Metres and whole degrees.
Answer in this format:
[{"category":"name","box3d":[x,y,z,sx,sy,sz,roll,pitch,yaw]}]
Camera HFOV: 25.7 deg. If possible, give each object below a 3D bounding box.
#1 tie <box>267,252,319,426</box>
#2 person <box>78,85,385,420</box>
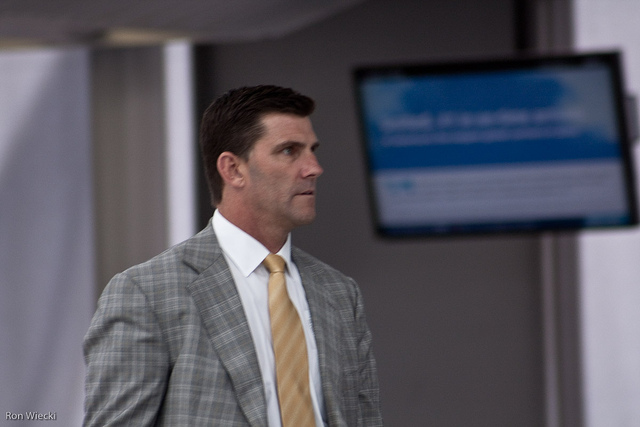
[{"category":"tie","box3d":[-0.099,0.413,4.605,0.149,0.557,0.023,5,-15,-22]},{"category":"person","box3d":[-0.302,0.162,4.769,0.813,1.353,0.408,18,-33,-39]}]
